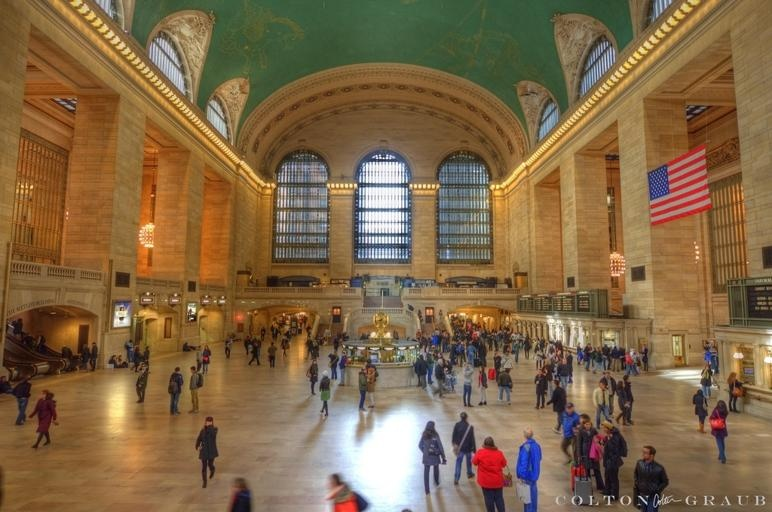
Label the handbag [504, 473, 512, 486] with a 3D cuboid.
[{"bbox_3d":[3.305,6.046,14.424,0.196,0.301,0.146,-9,-14,40],"label":"handbag"}]

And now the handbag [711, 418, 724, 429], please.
[{"bbox_3d":[10.358,5.223,16.667,0.315,0.301,0.156,0,9,20],"label":"handbag"}]

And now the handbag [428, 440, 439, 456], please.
[{"bbox_3d":[1.379,5.554,15.459,0.410,0.501,0.289,1,-7,10],"label":"handbag"}]

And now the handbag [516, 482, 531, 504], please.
[{"bbox_3d":[3.770,6.446,14.553,0.368,0.605,0.329,-1,-11,9],"label":"handbag"}]

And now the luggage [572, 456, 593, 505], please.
[{"bbox_3d":[5.621,6.515,15.338,0.555,1.197,0.559,-3,-12,18],"label":"luggage"}]
